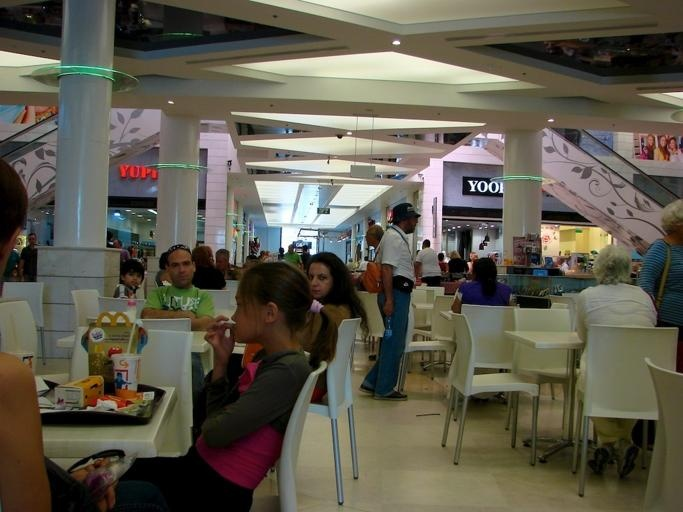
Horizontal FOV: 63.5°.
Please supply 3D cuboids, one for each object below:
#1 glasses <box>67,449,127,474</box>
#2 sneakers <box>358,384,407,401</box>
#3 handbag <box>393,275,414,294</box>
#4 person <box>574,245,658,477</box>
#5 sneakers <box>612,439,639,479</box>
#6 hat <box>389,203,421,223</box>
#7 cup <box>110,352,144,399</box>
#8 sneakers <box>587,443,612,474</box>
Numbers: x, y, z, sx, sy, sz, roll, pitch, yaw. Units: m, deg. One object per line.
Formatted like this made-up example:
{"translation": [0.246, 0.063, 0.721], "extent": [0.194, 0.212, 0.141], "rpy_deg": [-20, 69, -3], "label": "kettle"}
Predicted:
{"translation": [-0.865, 0.700, 1.957], "extent": [0.164, 0.037, 0.121], "rpy_deg": [-15, 11, -11], "label": "glasses"}
{"translation": [0.425, 1.409, 5.801], "extent": [0.462, 0.171, 0.164], "rpy_deg": [1, -3, -4], "label": "sneakers"}
{"translation": [0.607, 0.276, 5.488], "extent": [0.147, 0.100, 0.198], "rpy_deg": [4, 3, 29], "label": "handbag"}
{"translation": [1.929, 0.731, 3.862], "extent": [0.538, 1.613, 0.552], "rpy_deg": [2, 2, 15], "label": "person"}
{"translation": [1.986, 1.387, 3.880], "extent": [0.166, 0.279, 0.133], "rpy_deg": [-5, 8, -9], "label": "sneakers"}
{"translation": [0.649, -0.441, 5.620], "extent": [0.265, 0.129, 0.219], "rpy_deg": [-8, 2, -15], "label": "hat"}
{"translation": [-0.922, 0.531, 2.424], "extent": [0.165, 0.193, 0.154], "rpy_deg": [-2, -11, 0], "label": "cup"}
{"translation": [1.785, 1.427, 3.834], "extent": [0.162, 0.218, 0.053], "rpy_deg": [16, 36, 5], "label": "sneakers"}
